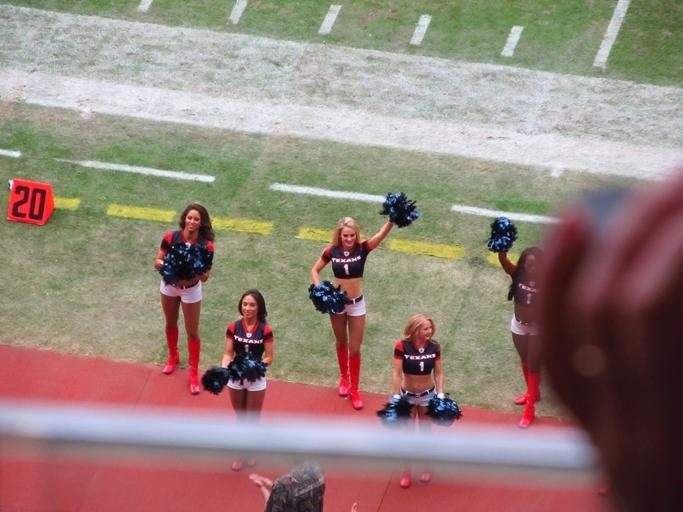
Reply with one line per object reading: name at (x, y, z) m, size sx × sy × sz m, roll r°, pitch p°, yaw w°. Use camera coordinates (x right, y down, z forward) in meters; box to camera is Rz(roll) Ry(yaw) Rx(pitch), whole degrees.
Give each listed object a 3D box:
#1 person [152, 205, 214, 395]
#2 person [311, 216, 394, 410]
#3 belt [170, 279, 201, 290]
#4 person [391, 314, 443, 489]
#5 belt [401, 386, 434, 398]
person at (-1.880, 0.503, 13.243) m, size 0.647 × 2.247 × 0.680 m, roll 4°, pitch 23°, yaw -10°
person at (0.005, 0.599, 13.320) m, size 0.825 × 2.190 × 0.947 m, roll 8°, pitch 22°, yaw 0°
belt at (-1.777, 0.324, 13.022) m, size 0.299 × 0.139 × 0.058 m, roll -3°, pitch 25°, yaw -25°
person at (0.798, 1.340, 12.347) m, size 0.567 × 1.338 × 0.674 m, roll 9°, pitch 22°, yaw 2°
belt at (0.812, 1.472, 12.287) m, size 0.357 × 0.119 × 0.105 m, roll 6°, pitch 22°, yaw -4°
